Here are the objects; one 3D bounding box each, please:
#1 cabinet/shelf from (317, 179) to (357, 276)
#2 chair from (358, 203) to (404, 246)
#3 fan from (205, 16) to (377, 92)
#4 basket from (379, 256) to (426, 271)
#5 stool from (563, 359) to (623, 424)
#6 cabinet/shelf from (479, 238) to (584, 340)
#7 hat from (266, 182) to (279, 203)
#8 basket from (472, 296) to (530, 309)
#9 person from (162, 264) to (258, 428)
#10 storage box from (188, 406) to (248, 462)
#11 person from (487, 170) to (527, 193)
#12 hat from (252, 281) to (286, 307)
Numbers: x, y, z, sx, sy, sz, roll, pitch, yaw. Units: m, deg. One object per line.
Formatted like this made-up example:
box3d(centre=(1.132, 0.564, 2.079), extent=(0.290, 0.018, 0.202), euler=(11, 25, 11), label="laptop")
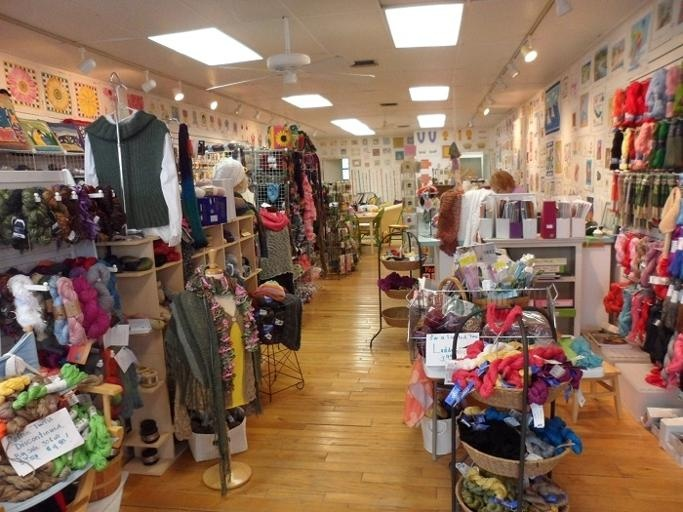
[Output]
box3d(centre=(-0.036, -0.558, 9.602), extent=(0.517, 1.756, 2.461), euler=(1, 13, 14), label="cabinet/shelf")
box3d(centre=(0.893, -0.822, 11.831), extent=(1.003, 1.363, 1.395), euler=(3, 12, 13), label="chair")
box3d(centre=(-0.404, -2.177, 5.455), extent=(1.597, 0.573, 2.158), euler=(-1, 13, 5), label="fan")
box3d(centre=(0.732, 0.107, 5.869), extent=(0.516, 0.237, 0.415), euler=(2, 14, 18), label="basket")
box3d(centre=(2.202, 1.096, 4.054), extent=(0.404, 0.297, 0.407), euler=(-4, 0, 11), label="stool")
box3d(centre=(1.471, 0.229, 3.749), extent=(0.921, 0.972, 0.281), euler=(-1, 1, 0), label="cabinet/shelf")
box3d(centre=(-0.976, -0.892, 6.908), extent=(0.179, 0.283, 0.121), euler=(-4, 13, -7), label="hat")
box3d(centre=(1.078, 0.320, 3.289), extent=(0.363, 0.072, 0.202), euler=(1, 13, 14), label="basket")
box3d(centre=(-0.962, 0.718, 3.583), extent=(0.682, 1.305, 0.587), euler=(6, 15, 33), label="person")
box3d(centre=(-0.957, 1.388, 3.800), extent=(0.403, 0.202, 0.319), euler=(-2, 1, -13), label="storage box")
box3d(centre=(1.934, -0.883, 5.764), extent=(0.318, 0.251, 0.747), euler=(1, 13, 15), label="person")
box3d(centre=(-0.610, 0.319, 4.110), extent=(0.192, 0.073, 0.195), euler=(-1, 20, -13), label="hat")
